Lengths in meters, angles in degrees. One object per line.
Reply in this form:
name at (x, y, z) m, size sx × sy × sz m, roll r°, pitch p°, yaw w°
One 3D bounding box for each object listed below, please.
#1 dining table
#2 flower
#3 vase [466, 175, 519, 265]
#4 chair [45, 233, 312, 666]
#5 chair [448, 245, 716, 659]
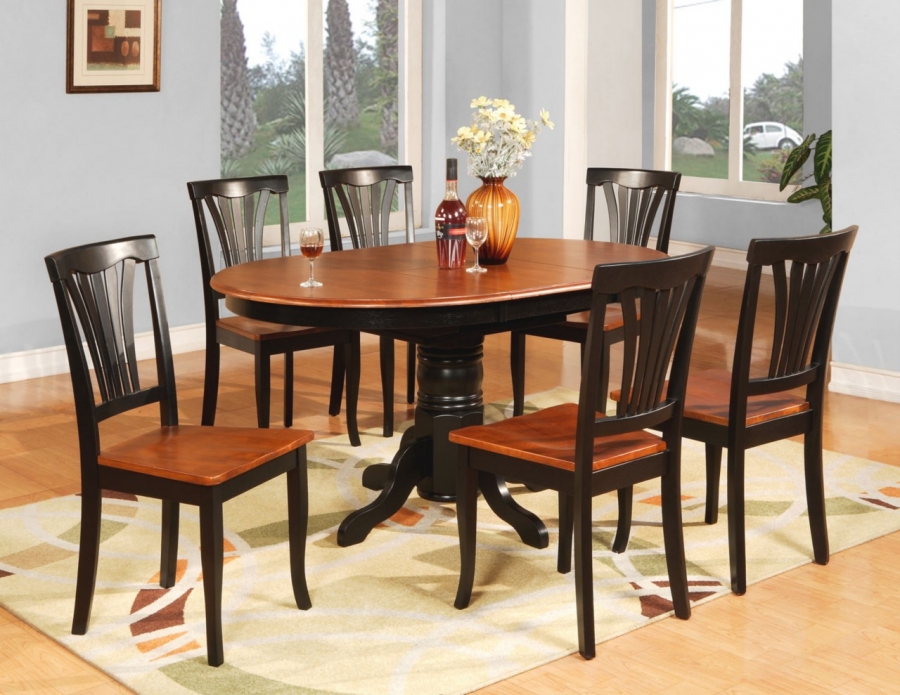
dining table at (-0.040, 0.163, 2.902) m, size 1.591 × 0.692 × 0.970 m, roll 8°, pitch 1°, yaw 14°
flower at (0.182, -0.761, 2.772) m, size 0.319 × 0.289 × 0.330 m, roll 2°, pitch 16°, yaw 12°
vase at (0.220, -0.483, 2.855) m, size 0.229 × 0.295 × 0.215 m, roll 4°, pitch 18°, yaw 31°
chair at (-0.752, 0.241, 2.123) m, size 0.693 × 0.922 × 0.541 m, roll 12°, pitch 10°, yaw 2°
chair at (0.352, 0.246, 2.137) m, size 0.607 × 1.043 × 0.544 m, roll 14°, pitch 23°, yaw 40°
